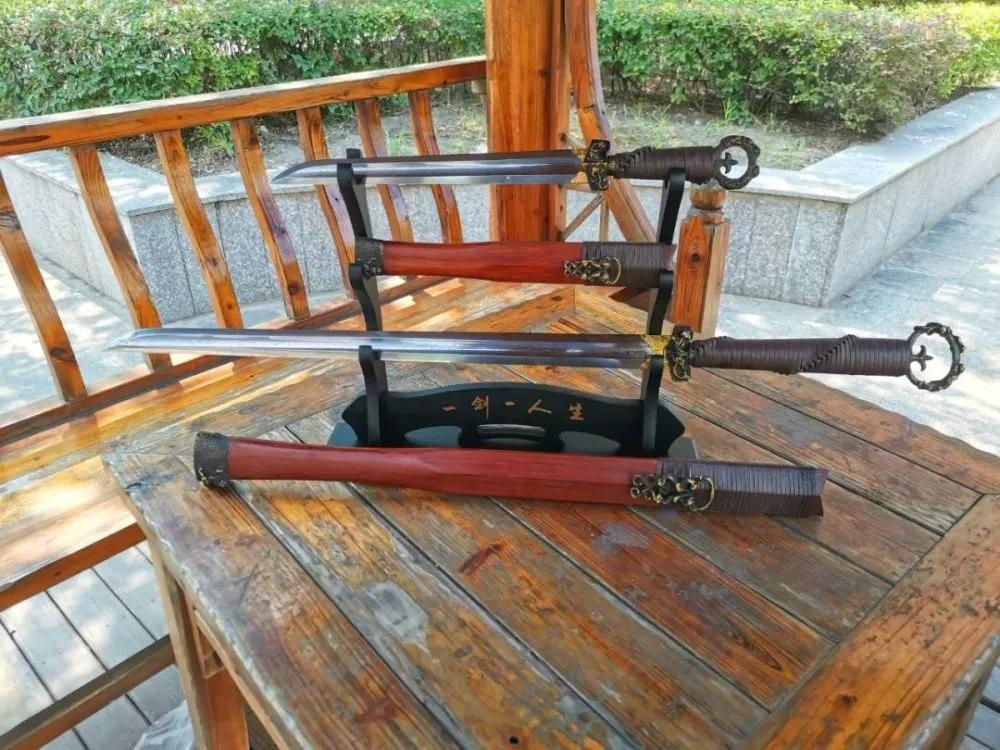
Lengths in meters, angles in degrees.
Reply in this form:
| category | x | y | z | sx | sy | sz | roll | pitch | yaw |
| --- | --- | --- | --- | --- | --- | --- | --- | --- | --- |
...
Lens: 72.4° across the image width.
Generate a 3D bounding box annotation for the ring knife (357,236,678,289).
| category | x | y | z | sx | sy | sz | roll | pitch | yaw |
| --- | --- | --- | --- | --- | --- | --- | --- | --- | --- |
| ring knife | 0.012 | -0.249 | 1.485 | 0.773 | 0.081 | 0.082 | 7 | 27 | 29 |
